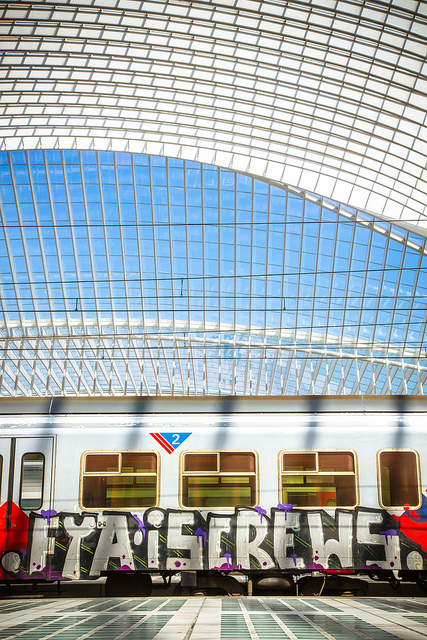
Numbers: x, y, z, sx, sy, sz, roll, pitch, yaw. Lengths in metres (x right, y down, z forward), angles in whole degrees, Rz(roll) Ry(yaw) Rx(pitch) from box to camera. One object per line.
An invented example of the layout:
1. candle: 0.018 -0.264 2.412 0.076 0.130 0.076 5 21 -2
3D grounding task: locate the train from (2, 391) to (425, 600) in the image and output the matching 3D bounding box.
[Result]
1. train: 0.002 3.020 10.035 7.553 3.258 1.259 1 -20 -7
